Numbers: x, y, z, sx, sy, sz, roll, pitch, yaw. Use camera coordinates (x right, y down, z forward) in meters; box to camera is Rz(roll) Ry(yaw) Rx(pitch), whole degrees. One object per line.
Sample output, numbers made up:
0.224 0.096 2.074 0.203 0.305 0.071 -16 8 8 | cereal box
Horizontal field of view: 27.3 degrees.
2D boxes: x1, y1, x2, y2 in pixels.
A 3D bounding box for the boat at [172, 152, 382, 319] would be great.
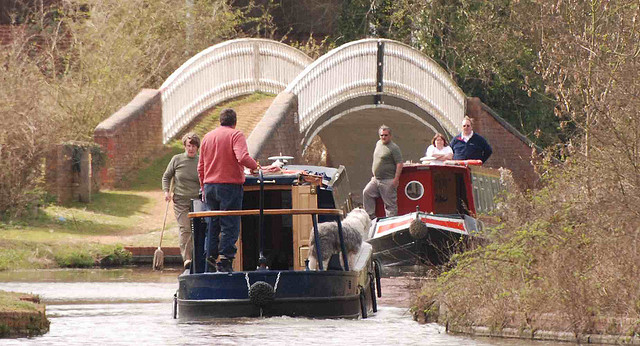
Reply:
-1.336 1.730 36.448 4.304 4.737 8.699 0 -1 -9 | boat
